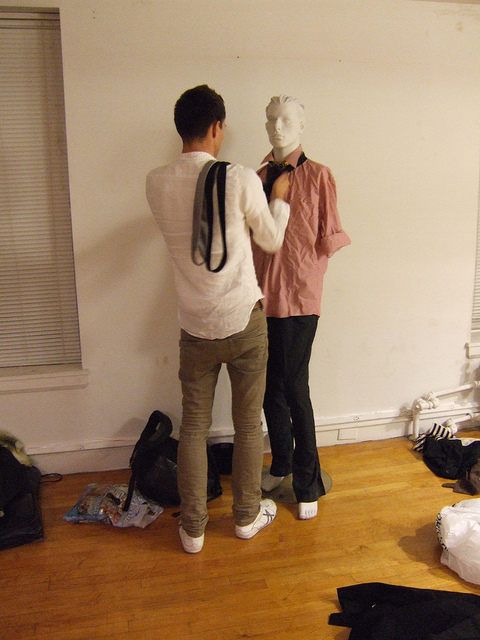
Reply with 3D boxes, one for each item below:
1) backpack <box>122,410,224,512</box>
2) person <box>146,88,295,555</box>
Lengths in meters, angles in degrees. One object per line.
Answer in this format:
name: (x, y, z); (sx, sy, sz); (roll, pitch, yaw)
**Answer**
backpack: (-0.365, 0.628, 2.716); (0.485, 0.427, 0.331); (-1, 6, -16)
person: (-0.044, 0.047, 2.210); (0.492, 1.723, 0.314); (-11, 21, -33)
